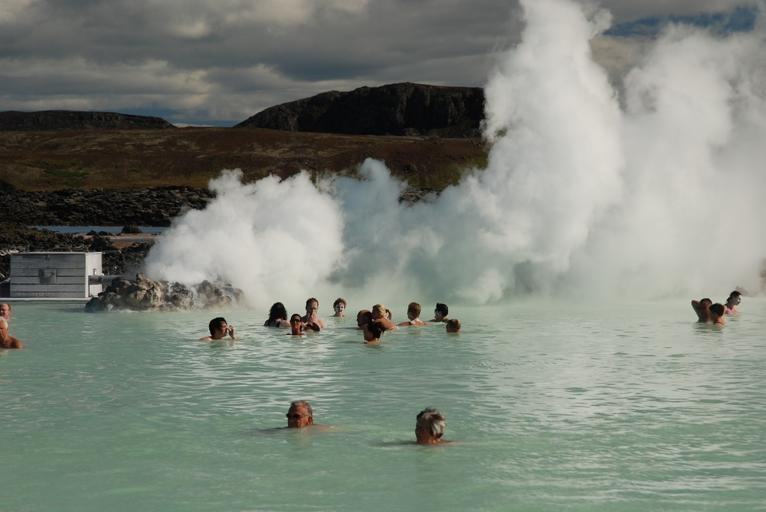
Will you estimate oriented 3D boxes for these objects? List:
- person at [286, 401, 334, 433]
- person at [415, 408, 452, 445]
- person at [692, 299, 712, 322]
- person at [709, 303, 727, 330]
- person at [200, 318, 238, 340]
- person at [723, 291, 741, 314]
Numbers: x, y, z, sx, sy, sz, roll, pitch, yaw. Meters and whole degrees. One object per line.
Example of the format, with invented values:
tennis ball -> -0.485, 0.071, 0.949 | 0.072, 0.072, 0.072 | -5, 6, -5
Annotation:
person -> -1.606, 3.241, 19.176 | 0.740, 0.347, 0.741 | 1, 10, -34
person -> 1.030, 3.472, 18.747 | 0.817, 0.632, 0.903 | 1, -26, 5
person -> 10.213, 1.739, 29.978 | 0.481, 0.732, 0.727 | -2, 14, -4
person -> 10.548, 1.899, 29.643 | 0.506, 0.584, 0.839 | 3, 14, 16
person -> -4.685, 2.105, 27.084 | 0.727, 0.538, 0.953 | -9, 11, -40
person -> 11.925, 1.586, 32.073 | 0.407, 0.784, 1.022 | 4, 14, 20
